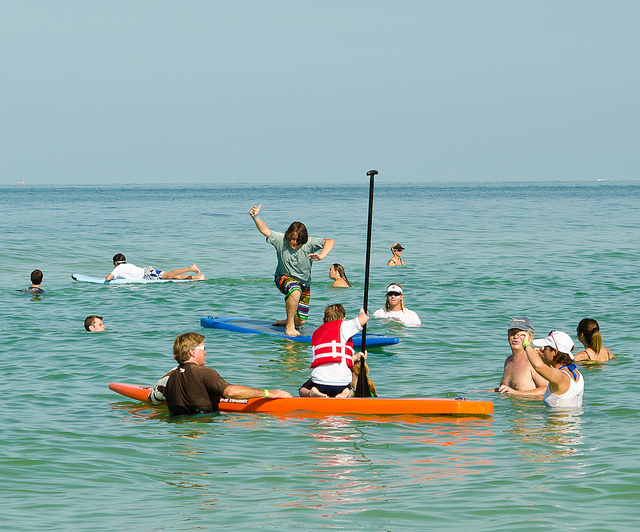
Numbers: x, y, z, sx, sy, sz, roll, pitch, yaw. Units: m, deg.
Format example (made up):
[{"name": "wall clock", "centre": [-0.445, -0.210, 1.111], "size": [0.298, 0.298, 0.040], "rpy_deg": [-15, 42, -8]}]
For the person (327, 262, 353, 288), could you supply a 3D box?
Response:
[{"name": "person", "centre": [0.552, 0.252, 30.299], "size": [0.598, 0.589, 0.748], "rpy_deg": [4, 6, 38]}]

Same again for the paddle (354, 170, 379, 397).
[{"name": "paddle", "centre": [0.904, 0.286, 18.712], "size": [0.469, 3.507, 0.550], "rpy_deg": [3, 10, 0]}]

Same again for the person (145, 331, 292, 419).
[{"name": "person", "centre": [-1.728, 1.598, 17.643], "size": [1.937, 1.322, 0.639], "rpy_deg": [3, 12, 13]}]

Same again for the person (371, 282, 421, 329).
[{"name": "person", "centre": [1.599, 0.824, 24.887], "size": [1.202, 0.880, 0.657], "rpy_deg": [1, -8, 29]}]

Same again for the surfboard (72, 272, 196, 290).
[{"name": "surfboard", "centre": [-4.629, 0.395, 30.237], "size": [3.803, 0.267, 0.480], "rpy_deg": [0, -2, -10]}]

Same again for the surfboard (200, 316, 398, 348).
[{"name": "surfboard", "centre": [-0.445, 1.231, 21.947], "size": [3.424, 0.391, 0.700], "rpy_deg": [1, -2, 31]}]

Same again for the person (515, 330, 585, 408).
[{"name": "person", "centre": [3.499, 1.617, 18.316], "size": [0.871, 1.427, 0.905], "rpy_deg": [9, 17, 34]}]

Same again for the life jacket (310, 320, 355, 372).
[{"name": "life jacket", "centre": [0.185, 1.172, 18.141], "size": [0.694, 0.671, 0.569], "rpy_deg": [-2, 9, 0]}]
